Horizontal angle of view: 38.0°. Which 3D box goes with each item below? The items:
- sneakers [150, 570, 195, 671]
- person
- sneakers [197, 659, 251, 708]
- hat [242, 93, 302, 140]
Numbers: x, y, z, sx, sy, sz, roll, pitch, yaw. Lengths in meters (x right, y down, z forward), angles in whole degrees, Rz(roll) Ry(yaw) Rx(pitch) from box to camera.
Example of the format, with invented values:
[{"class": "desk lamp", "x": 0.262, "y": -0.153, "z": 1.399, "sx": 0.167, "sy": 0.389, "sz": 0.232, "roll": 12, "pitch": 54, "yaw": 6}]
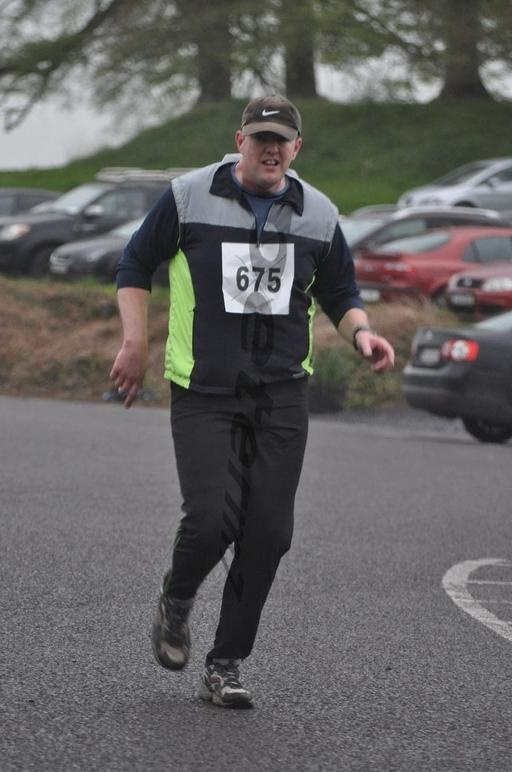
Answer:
[{"class": "sneakers", "x": -0.236, "y": 0.630, "z": 2.104, "sx": 0.108, "sy": 0.288, "sz": 0.120, "roll": 0, "pitch": 1, "yaw": -23}, {"class": "person", "x": -0.020, "y": 0.097, "z": 2.103, "sx": 0.768, "sy": 1.527, "sz": 0.447, "roll": 1, "pitch": 5, "yaw": -11}, {"class": "sneakers", "x": -0.077, "y": 0.806, "z": 2.022, "sx": 0.075, "sy": 0.124, "sz": 0.192, "roll": 23, "pitch": -18, "yaw": -28}, {"class": "hat", "x": 0.047, "y": -0.727, "z": 2.034, "sx": 0.128, "sy": 0.087, "sz": 0.168, "roll": 11, "pitch": 1, "yaw": 1}]
